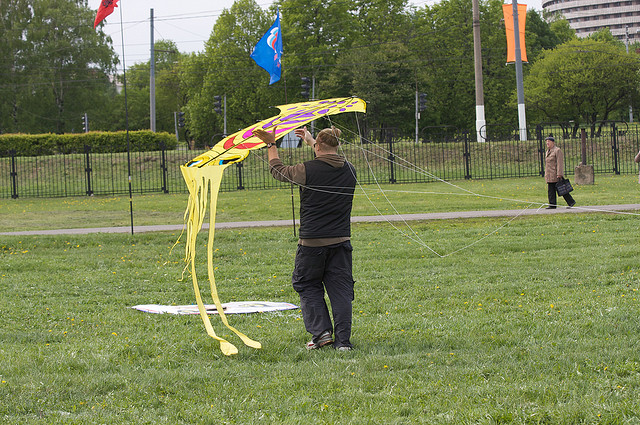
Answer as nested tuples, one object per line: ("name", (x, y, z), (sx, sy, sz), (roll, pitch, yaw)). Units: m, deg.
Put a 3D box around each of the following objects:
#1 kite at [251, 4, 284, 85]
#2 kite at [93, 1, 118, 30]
("kite", (-2.969, -9.324, 62.561), (1.461, 4.098, 2.683), (-3, 3, -14))
("kite", (-12.174, -11.360, 62.562), (1.121, 1.350, 3.921), (-3, 4, -12))
